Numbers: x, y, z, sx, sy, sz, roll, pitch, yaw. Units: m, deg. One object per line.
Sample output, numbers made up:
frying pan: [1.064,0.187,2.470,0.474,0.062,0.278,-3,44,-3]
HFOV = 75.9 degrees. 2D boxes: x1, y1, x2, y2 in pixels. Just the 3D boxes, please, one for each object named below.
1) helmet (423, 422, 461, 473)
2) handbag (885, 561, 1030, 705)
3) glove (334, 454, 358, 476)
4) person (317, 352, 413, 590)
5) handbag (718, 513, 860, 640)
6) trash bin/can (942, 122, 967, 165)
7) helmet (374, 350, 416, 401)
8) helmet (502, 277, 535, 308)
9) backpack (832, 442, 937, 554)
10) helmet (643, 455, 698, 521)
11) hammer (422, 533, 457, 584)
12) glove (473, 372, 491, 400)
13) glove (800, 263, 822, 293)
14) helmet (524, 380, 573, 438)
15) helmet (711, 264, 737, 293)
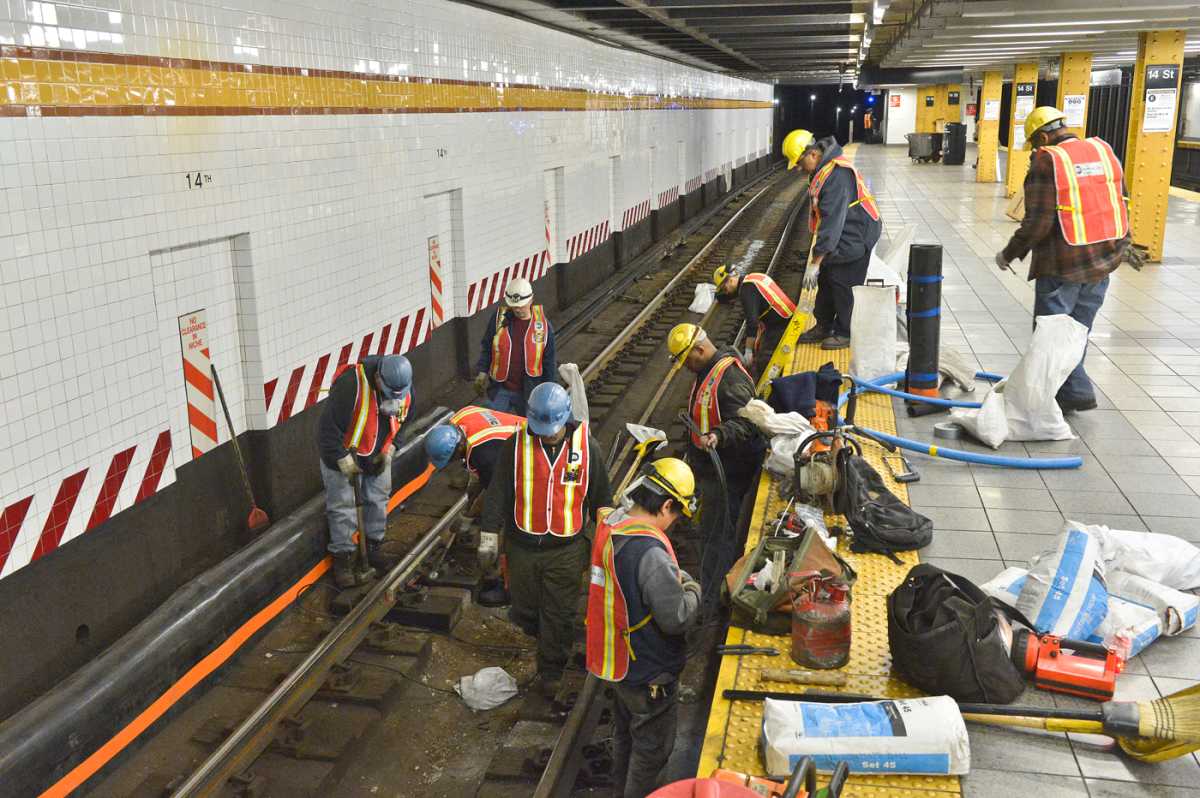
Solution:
helmet: [-1.406,0.463,7.082,0.310,0.400,0.213,15,-3,20]
handbag: [2.182,1.382,4.770,0.818,0.818,0.593,6,11,27]
glove: [-2.474,0.658,7.456,0.161,0.170,0.178,-2,28,-15]
person: [-2.347,0.672,7.702,1.018,2.317,0.640,-10,25,-19]
handbag: [1.316,1.153,5.395,0.829,0.640,1.053,13,27,30]
trash bin/can: [18.256,-13.001,39.158,0.885,1.874,1.824,6,24,17]
helmet: [-1.971,-0.222,7.322,0.338,0.425,0.397,-3,-2,-18]
helmet: [-0.966,-1.226,9.256,0.364,0.330,0.512,3,31,1]
backpack: [2.140,0.827,6.047,0.704,0.314,0.860,-11,53,-18]
helmet: [0.428,0.521,4.737,0.373,0.230,0.290,33,9,-26]
hammer: [-1.658,1.706,7.978,0.134,0.125,0.517,1,30,10]
glove: [-1.411,-0.146,9.388,0.104,0.286,0.204,2,5,-37]
glove: [2.725,-1.587,9.768,0.188,0.367,0.872,5,24,15]
helmet: [-0.375,0.088,5.853,0.333,0.458,0.206,-9,25,-16]
helmet: [1.525,-1.441,9.470,0.308,0.249,0.350,21,30,-17]
